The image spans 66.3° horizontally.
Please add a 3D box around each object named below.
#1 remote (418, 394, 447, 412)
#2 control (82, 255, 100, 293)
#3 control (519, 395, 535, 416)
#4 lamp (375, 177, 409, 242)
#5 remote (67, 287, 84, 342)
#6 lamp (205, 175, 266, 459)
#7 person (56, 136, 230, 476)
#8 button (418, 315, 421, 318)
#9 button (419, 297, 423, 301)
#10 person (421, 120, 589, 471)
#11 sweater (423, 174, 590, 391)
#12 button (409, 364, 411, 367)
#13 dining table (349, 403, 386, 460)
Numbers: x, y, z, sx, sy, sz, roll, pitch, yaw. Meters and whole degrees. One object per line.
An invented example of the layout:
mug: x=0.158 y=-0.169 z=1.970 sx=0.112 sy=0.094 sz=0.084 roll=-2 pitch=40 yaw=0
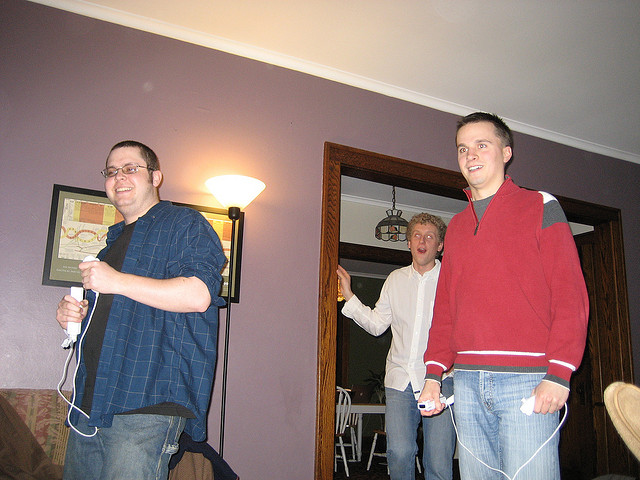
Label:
remote: x=0.493 y=0.729 z=2.138 sx=0.089 sy=0.055 sz=0.138 roll=-11 pitch=-1 yaw=43
control: x=-0.827 y=0.128 z=1.795 sx=0.085 sy=0.120 sz=0.041 roll=6 pitch=5 yaw=30
control: x=0.778 y=0.622 z=1.842 sx=0.051 sy=0.081 sz=0.051 roll=-2 pitch=-11 yaw=21
lamp: x=0.902 y=-0.322 z=6.149 sx=0.342 sy=0.780 sz=1.078 roll=0 pitch=-10 yaw=10
remote: x=-0.950 y=0.282 z=1.937 sx=0.053 sy=0.210 sz=0.040 roll=13 pitch=-55 yaw=-38
lamp: x=-0.573 y=0.440 z=3.028 sx=0.362 sy=1.704 sz=0.298 roll=4 pitch=-10 yaw=-15
person: x=-0.705 y=0.187 z=1.902 sx=0.642 sy=1.341 sz=0.434 roll=-1 pitch=-10 yaw=17
button: x=0.645 y=0.497 z=3.183 sx=0.013 sy=0.015 sz=0.014 roll=0 pitch=-18 yaw=0
button: x=0.664 y=0.390 z=3.219 sx=0.020 sy=0.021 sz=0.006 roll=0 pitch=-10 yaw=12
person: x=0.754 y=0.194 z=2.060 sx=0.629 sy=1.522 sz=0.248 roll=-6 pitch=-13 yaw=39
sweater: x=0.771 y=0.155 z=2.022 sx=0.548 sy=0.843 sz=0.159 roll=-7 pitch=-13 yaw=41
button: x=0.560 y=0.782 z=3.049 sx=0.010 sy=0.010 sz=0.003 roll=5 pitch=-3 yaw=24
dining table: x=0.603 y=2.261 z=5.903 sx=0.457 sy=0.508 sz=0.576 roll=-8 pitch=-22 yaw=9
